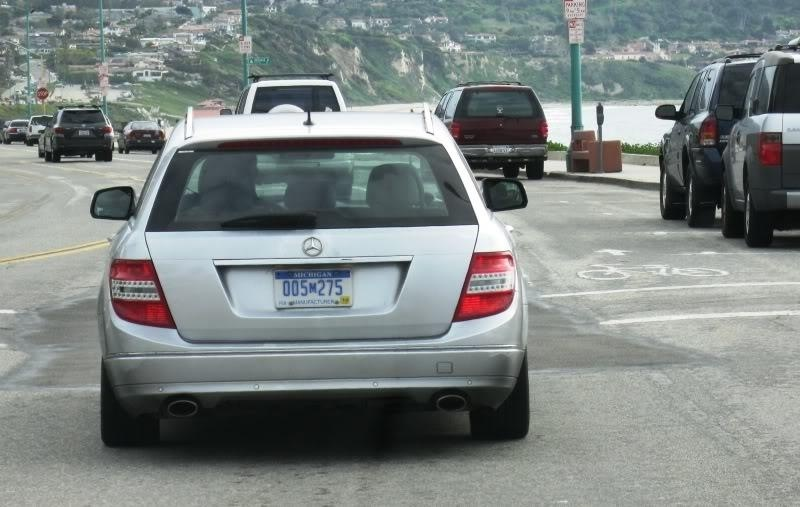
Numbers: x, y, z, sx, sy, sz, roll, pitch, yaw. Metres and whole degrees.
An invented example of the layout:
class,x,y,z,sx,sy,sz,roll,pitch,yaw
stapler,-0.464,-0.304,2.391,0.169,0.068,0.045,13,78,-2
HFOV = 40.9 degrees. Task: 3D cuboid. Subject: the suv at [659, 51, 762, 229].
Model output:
class,x,y,z,sx,sy,sz,roll,pitch,yaw
suv,5.620,-2.287,18.253,2.096,1.843,3.658,-8,9,23
